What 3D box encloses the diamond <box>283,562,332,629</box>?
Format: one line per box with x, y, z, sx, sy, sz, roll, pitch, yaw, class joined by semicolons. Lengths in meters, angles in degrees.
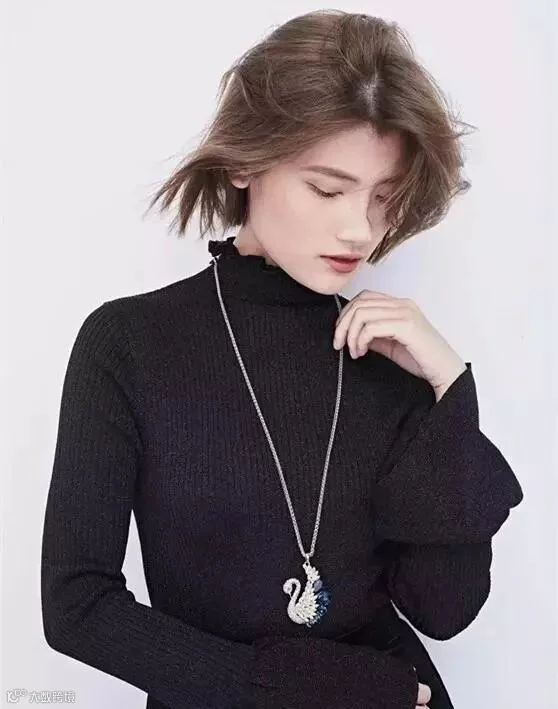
0.050;0.410;1.329;0.084;0.118;0.021;-13;13;-30;diamond
